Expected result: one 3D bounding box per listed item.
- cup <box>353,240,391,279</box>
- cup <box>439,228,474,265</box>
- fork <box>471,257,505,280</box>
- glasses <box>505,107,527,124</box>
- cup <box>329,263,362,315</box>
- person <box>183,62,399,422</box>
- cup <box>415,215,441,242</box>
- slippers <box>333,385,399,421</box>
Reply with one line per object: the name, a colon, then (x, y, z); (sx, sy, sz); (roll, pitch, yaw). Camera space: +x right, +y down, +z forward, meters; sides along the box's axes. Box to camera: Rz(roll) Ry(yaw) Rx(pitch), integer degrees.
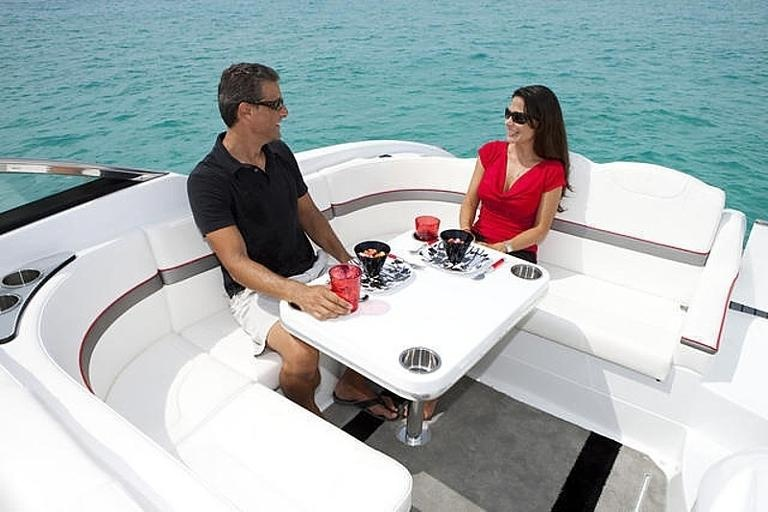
cup: (-0.058, 0.033, 1.917); (0.168, 0.104, 0.152); (8, -3, 0)
cup: (0.324, -0.036, 2.078); (0.167, 0.116, 0.163); (-2, 22, 1)
fork: (0.452, 0.057, 2.026); (0.159, 0.044, 0.031); (-24, 52, -35)
glasses: (0.721, -0.767, 2.521); (0.127, 0.059, 0.053); (33, 57, 31)
cup: (-0.136, 0.126, 1.817); (0.127, 0.164, 0.182); (9, 16, 18)
person: (-0.374, 0.031, 2.403); (0.953, 1.889, 1.148); (-19, 36, -30)
cup: (0.225, -0.140, 2.294); (0.133, 0.085, 0.123); (1, 16, 0)
slippers: (-0.102, 0.755, 2.399); (0.354, 0.078, 0.144); (11, 41, 8)
